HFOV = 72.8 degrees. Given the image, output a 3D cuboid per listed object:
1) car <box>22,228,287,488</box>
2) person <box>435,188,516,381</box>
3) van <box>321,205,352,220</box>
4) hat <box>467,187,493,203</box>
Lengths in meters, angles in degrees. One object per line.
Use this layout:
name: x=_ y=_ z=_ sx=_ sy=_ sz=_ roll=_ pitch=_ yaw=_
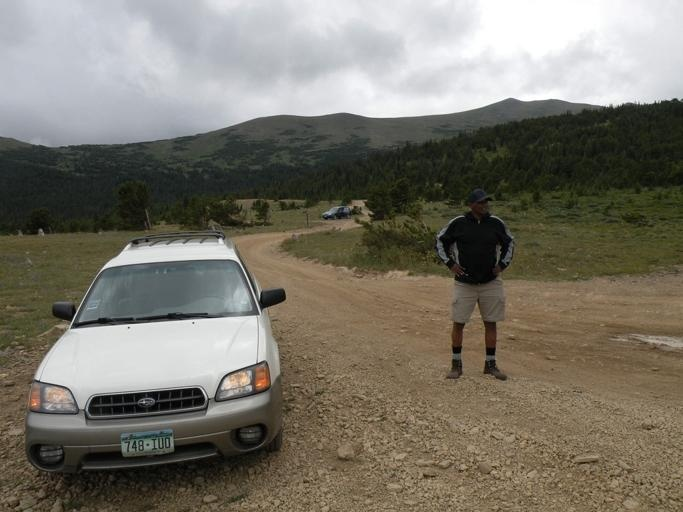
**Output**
car: x=-2.189 y=1.013 z=5.984 sx=1.934 sy=1.549 sz=3.365 roll=-3 pitch=3 yaw=-5
person: x=2.017 y=0.410 z=6.974 sx=1.044 sy=2.797 sz=0.907 roll=1 pitch=5 yaw=19
van: x=-0.574 y=-5.513 z=58.508 sx=3.717 sy=1.408 sz=1.683 roll=-3 pitch=-2 yaw=-42
hat: x=2.012 y=-0.859 z=6.770 sx=0.244 sy=0.185 sz=0.345 roll=-6 pitch=1 yaw=-33
